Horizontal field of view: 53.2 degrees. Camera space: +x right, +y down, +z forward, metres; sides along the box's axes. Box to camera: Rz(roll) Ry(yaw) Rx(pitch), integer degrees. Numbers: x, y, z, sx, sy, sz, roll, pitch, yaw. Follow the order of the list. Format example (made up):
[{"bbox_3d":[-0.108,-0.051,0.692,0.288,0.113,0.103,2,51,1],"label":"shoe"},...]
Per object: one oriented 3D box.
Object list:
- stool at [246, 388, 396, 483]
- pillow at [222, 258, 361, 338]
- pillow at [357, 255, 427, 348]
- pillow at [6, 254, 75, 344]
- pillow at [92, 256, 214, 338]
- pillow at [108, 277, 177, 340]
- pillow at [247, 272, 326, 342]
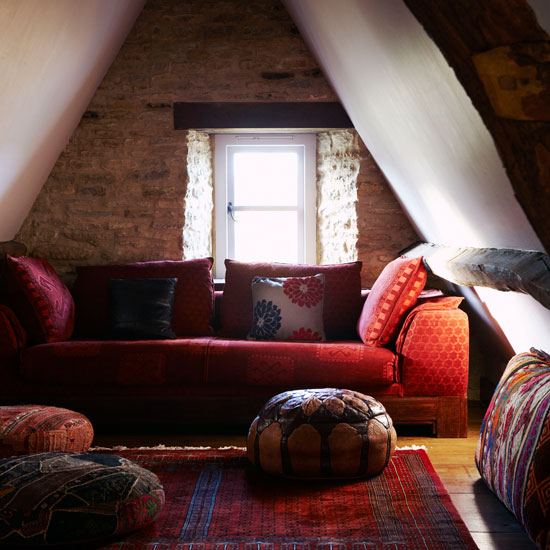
[{"bbox_3d":[0.188,0.606,2.082,0.475,0.180,0.403,0,-10,-2],"label":"stool"},{"bbox_3d":[0.073,0.157,3.445,1.017,0.500,0.320,-2,-16,10],"label":"pillow"},{"bbox_3d":[0.658,0.117,3.097,0.372,0.463,0.637,-1,1,1],"label":"pillow"},{"bbox_3d":[-1.277,0.129,2.996,0.225,0.435,0.475,-25,-17,2],"label":"pillow"},{"bbox_3d":[-0.724,0.152,3.291,0.582,0.313,0.178,-2,3,3],"label":"pillow"},{"bbox_3d":[-0.757,0.196,3.251,0.471,0.358,0.155,-2,-7,17],"label":"pillow"},{"bbox_3d":[0.084,0.194,3.240,0.517,0.378,0.182,0,-3,26],"label":"pillow"}]
